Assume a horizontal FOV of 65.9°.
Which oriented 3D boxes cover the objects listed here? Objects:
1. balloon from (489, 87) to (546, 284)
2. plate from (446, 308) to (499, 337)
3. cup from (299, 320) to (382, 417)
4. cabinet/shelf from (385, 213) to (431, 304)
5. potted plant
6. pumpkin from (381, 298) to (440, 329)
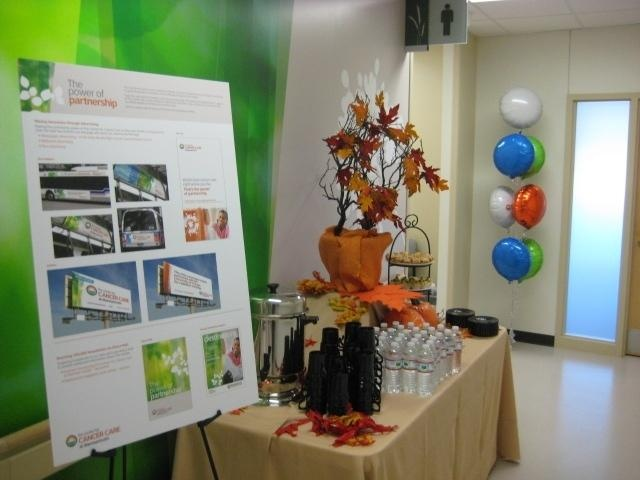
[{"bbox_3d":[2.026,-0.496,5.036,0.538,2.047,0.642,7,11,40],"label":"balloon"},{"bbox_3d":[0.914,0.476,3.047,0.158,0.107,0.270,-2,1,-13],"label":"plate"},{"bbox_3d":[0.085,0.570,2.189,0.291,0.379,0.354,4,-7,-8],"label":"cup"},{"bbox_3d":[0.613,0.214,3.340,0.286,0.802,0.297,3,18,22],"label":"cabinet/shelf"},{"bbox_3d":[0.356,-0.245,2.681,0.599,1.046,0.593,5,7,-7],"label":"potted plant"},{"bbox_3d":[0.510,0.362,2.672,0.179,0.202,0.189,-5,6,-30],"label":"pumpkin"}]
